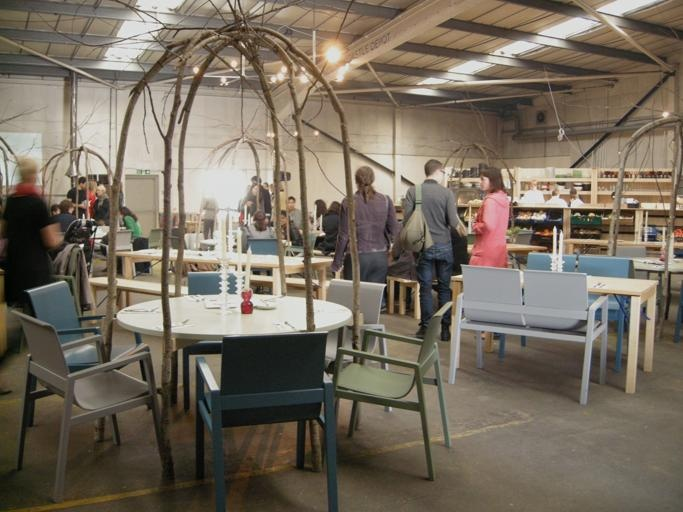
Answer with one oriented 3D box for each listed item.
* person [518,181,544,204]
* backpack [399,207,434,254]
[{"bbox_3d":[3.482,-1.144,10.144,0.326,0.435,1.851,5,13,20],"label":"person"},{"bbox_3d":[0.875,-0.292,6.426,0.434,0.598,0.294,7,14,31],"label":"backpack"}]
